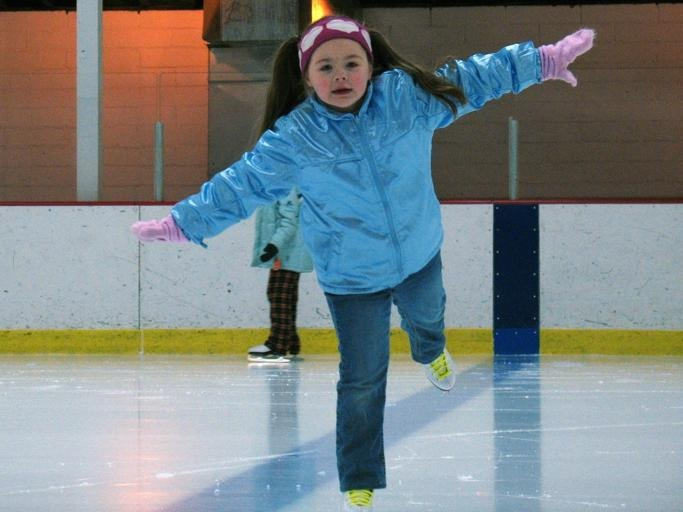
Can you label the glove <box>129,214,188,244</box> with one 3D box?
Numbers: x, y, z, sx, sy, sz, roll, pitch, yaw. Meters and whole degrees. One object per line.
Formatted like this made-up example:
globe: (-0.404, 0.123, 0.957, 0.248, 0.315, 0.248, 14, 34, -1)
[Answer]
glove: (-1.154, -0.170, 8.812, 0.311, 0.112, 0.174, 2, 5, -8)
